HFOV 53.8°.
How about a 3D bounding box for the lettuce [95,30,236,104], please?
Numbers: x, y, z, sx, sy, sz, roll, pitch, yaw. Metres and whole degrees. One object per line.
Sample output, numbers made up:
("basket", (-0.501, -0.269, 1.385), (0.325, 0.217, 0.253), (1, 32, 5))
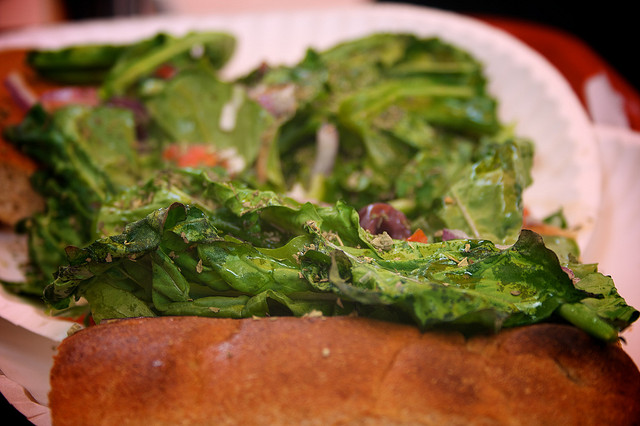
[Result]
("lettuce", (-0.476, -0.505, 1.943), (0.319, 0.118, 0.212), (-21, 33, -11))

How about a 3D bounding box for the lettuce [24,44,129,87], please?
("lettuce", (-0.846, -0.501, 2.077), (0.350, 0.104, 0.379), (-13, 14, -16))

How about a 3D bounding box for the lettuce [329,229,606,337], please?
("lettuce", (0.379, 0.194, 1.731), (0.570, 0.135, 0.353), (5, 25, 3))

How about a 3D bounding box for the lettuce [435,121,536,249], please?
("lettuce", (0.555, -0.074, 2.135), (0.275, 0.108, 0.416), (37, 60, -7))

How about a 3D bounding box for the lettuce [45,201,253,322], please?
("lettuce", (-0.533, 0.214, 1.957), (0.661, 0.534, 0.256), (12, 84, 49))

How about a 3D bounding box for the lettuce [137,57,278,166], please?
("lettuce", (-0.380, -0.361, 2.585), (0.492, 0.886, 0.258), (-6, 80, -6))

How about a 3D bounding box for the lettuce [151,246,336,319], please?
("lettuce", (-0.224, 0.223, 1.859), (0.537, 0.129, 0.218), (4, 84, -1))

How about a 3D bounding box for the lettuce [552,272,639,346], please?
("lettuce", (0.751, 0.266, 1.764), (0.192, 0.058, 0.195), (36, 61, 18))
